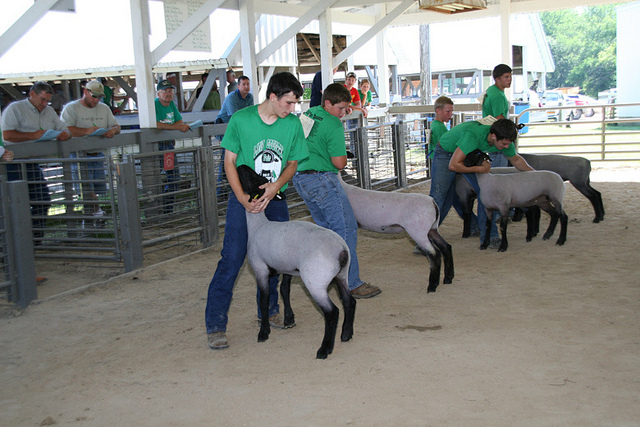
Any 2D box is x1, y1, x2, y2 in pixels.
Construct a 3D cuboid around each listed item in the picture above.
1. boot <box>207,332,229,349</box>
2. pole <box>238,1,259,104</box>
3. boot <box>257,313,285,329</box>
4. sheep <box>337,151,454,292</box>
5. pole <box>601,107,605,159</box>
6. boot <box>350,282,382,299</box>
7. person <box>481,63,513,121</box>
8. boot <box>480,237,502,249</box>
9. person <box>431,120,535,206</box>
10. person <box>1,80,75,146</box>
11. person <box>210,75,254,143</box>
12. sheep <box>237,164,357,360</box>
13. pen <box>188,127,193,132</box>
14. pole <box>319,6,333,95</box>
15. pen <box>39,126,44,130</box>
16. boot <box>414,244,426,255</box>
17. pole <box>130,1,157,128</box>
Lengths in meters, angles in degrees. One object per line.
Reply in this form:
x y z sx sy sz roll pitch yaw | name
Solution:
-0.973 1.204 4.251 0.205 0.159 0.105 -5 12 -3 | boot
-1.463 -3.368 9.333 0.357 2.060 0.368 -5 13 -2 | pole
-0.503 1.102 4.583 0.305 0.124 0.117 -2 1 1 | boot
0.697 0.040 5.585 1.848 1.357 0.588 10 13 42 | sheep
8.938 -2.580 14.139 0.078 1.581 0.626 3 15 30 | pole
0.539 0.908 5.344 0.450 0.205 0.157 -6 3 -6 | boot
3.133 -2.153 7.826 0.460 0.900 0.547 -2 13 11 | person
2.666 0.451 6.941 0.140 0.167 0.374 0 -6 4 | boot
2.326 -0.777 6.582 1.350 1.193 0.973 -4 12 4 | person
-4.615 -1.643 7.157 0.869 0.919 0.524 -11 14 -26 | person
-1.819 -2.201 10.076 0.860 1.804 0.991 -6 29 -33 | person
-0.211 0.389 4.104 0.968 1.746 0.457 4 15 33 | sheep
-2.532 -1.671 8.754 0.022 0.028 0.112 -1 -11 13 | pen
0.158 -4.159 11.128 0.320 1.886 0.506 -5 13 2 | pole
-4.533 -1.413 7.311 0.077 0.040 0.016 39 -9 -21 | pen
1.504 0.547 6.872 0.213 0.194 0.110 -1 12 19 | boot
-3.080 -2.588 7.846 0.344 2.089 0.572 -13 15 -31 | pole
